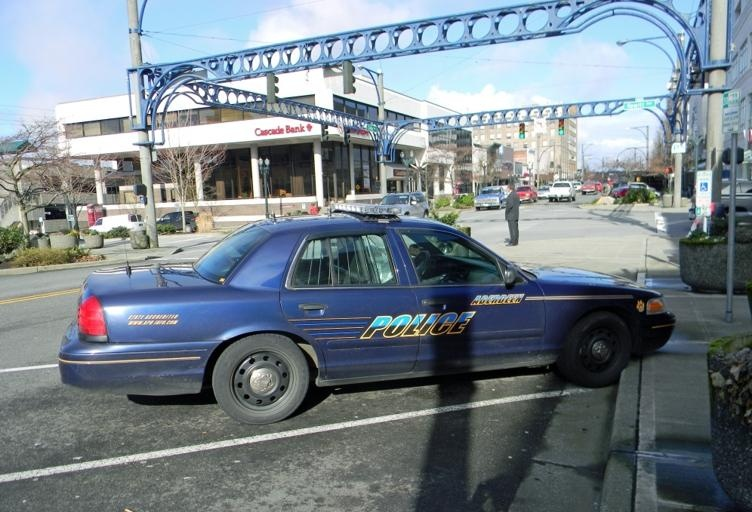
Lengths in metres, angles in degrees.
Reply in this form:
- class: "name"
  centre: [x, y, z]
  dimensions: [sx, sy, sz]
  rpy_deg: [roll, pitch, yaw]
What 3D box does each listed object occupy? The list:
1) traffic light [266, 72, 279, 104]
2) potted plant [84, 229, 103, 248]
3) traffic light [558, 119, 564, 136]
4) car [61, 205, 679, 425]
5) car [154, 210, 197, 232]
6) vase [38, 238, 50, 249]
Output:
- class: "traffic light"
  centre: [-4.544, -7.346, 23.243]
  dimensions: [0.422, 1.225, 1.693]
  rpy_deg: [-5, 14, -11]
- class: "potted plant"
  centre: [-13.397, -0.843, 25.080]
  dimensions: [1.001, 0.711, 0.948]
  rpy_deg: [2, 5, -2]
- class: "traffic light"
  centre: [12.898, -9.184, 37.550]
  dimensions: [0.258, 1.004, 1.682]
  rpy_deg: [3, 14, 17]
- class: "car"
  centre: [-0.025, 0.559, 6.733]
  dimensions: [6.437, 1.865, 2.576]
  rpy_deg: [-4, 4, -12]
- class: "car"
  centre: [-16.053, -2.869, 43.077]
  dimensions: [3.294, 1.534, 1.796]
  rpy_deg: [3, 7, 4]
- class: "vase"
  centre: [-14.222, -0.599, 22.853]
  dimensions: [0.621, 0.525, 0.515]
  rpy_deg: [2, 0, -27]
